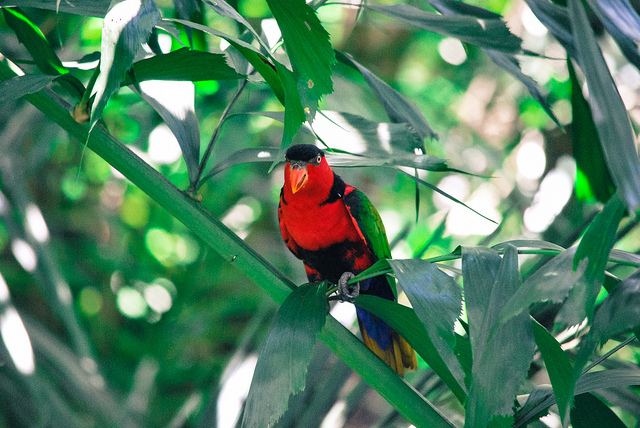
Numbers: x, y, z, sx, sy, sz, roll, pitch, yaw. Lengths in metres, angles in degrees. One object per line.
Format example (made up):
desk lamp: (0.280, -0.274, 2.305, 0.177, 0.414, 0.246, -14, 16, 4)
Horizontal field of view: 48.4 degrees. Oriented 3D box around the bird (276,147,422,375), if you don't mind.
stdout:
bird: (0.073, 0.120, 1.751, 0.188, 0.446, 0.462, -32, -66, 23)
